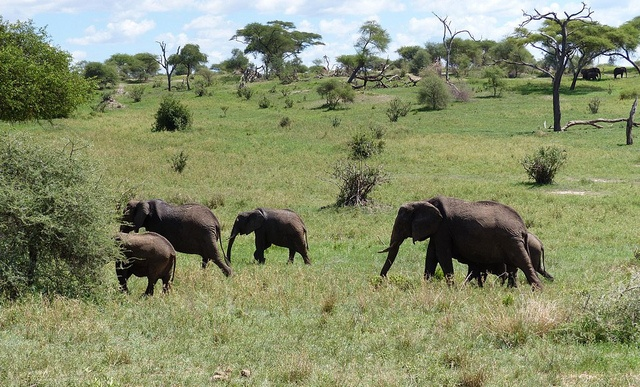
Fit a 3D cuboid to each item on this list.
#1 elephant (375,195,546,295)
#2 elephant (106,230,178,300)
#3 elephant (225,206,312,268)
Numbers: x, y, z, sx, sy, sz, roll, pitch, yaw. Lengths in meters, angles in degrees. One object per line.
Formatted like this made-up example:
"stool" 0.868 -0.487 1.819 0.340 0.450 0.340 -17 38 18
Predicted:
"elephant" 7.531 2.434 39.523 10.646 5.753 3.424 4 -7 5
"elephant" -9.588 3.492 36.525 5.124 2.879 2.198 3 -2 11
"elephant" -2.697 2.446 41.315 5.288 3.114 1.736 1 -1 20
